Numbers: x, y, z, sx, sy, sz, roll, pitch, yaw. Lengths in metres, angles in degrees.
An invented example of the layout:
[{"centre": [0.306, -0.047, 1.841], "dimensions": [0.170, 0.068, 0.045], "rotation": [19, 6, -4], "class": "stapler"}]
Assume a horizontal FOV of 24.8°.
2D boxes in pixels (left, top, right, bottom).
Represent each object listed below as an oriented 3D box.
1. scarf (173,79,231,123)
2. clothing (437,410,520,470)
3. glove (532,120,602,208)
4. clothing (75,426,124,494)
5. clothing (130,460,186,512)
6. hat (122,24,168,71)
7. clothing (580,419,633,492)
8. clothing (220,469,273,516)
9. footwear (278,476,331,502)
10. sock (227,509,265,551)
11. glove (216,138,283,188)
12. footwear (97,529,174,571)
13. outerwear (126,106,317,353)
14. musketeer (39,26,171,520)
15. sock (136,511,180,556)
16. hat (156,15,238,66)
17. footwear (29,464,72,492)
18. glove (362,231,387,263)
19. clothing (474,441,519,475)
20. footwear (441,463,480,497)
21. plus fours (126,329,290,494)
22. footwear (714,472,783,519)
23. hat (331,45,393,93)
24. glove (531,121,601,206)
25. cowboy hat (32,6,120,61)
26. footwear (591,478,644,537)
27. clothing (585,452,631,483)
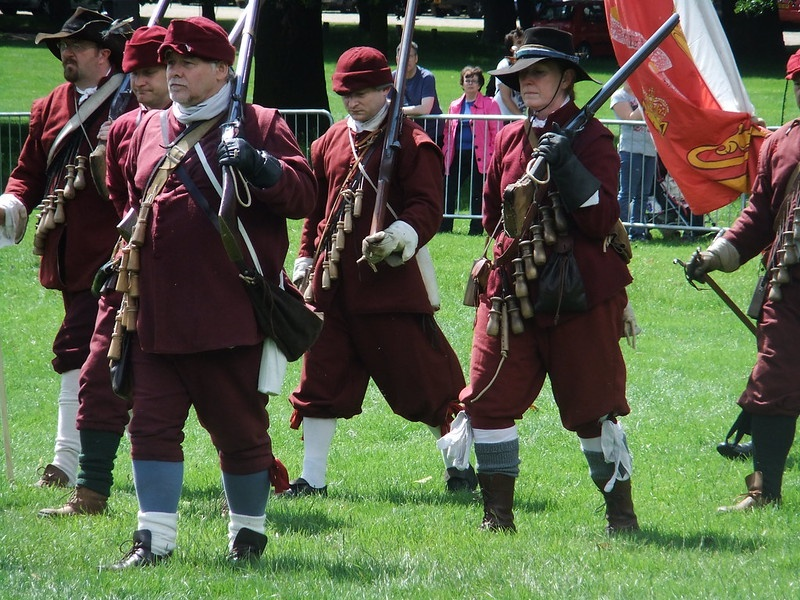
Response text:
[{"centre": [-1.361, -1.353, 12.527], "dimensions": [0.322, 0.140, 0.271], "rotation": [-17, 27, -5], "class": "scarf"}, {"centre": [0.582, 0.999, 13.347], "dimensions": [0.525, 0.317, 0.438], "rotation": [-5, 4, 20], "class": "clothing"}, {"centre": [1.170, -0.916, 12.919], "dimensions": [0.259, 0.873, 0.235], "rotation": [-25, 22, 6], "class": "glove"}, {"centre": [-2.247, 1.223, 13.487], "dimensions": [0.331, 0.550, 0.382], "rotation": [5, -1, -16], "class": "clothing"}, {"centre": [-1.644, 1.254, 12.346], "dimensions": [0.345, 0.371, 0.338], "rotation": [0, -8, -9], "class": "clothing"}, {"centre": [-1.835, -1.816, 13.208], "dimensions": [0.270, 0.276, 0.373], "rotation": [7, 16, 17], "class": "hat"}, {"centre": [1.503, 1.103, 13.337], "dimensions": [0.357, 0.540, 0.423], "rotation": [-10, 17, 5], "class": "clothing"}, {"centre": [-1.060, 1.323, 12.492], "dimensions": [0.294, 0.304, 0.309], "rotation": [-1, -7, -5], "class": "clothing"}, {"centre": [-0.737, 1.455, 14.106], "dimensions": [0.422, 0.162, 0.148], "rotation": [4, -7, -21], "class": "footwear"}, {"centre": [-1.061, 1.579, 12.546], "dimensions": [0.284, 0.228, 0.199], "rotation": [4, 2, -22], "class": "sock"}, {"centre": [-1.079, -0.935, 12.406], "dimensions": [0.289, 0.201, 0.478], "rotation": [-4, -27, -21], "class": "glove"}, {"centre": [-1.745, 1.669, 12.256], "dimensions": [0.246, 0.204, 0.497], "rotation": [12, 17, 43], "class": "footwear"}, {"centre": [-1.268, -0.461, 12.438], "dimensions": [1.682, 1.892, 1.059], "rotation": [-1, -5, 9], "class": "outerwear"}, {"centre": [-2.121, -0.238, 13.226], "dimensions": [0.673, 3.637, 0.258], "rotation": [-6, -18, 35], "class": "musketeer"}, {"centre": [-1.618, 1.575, 12.352], "dimensions": [0.295, 0.284, 0.242], "rotation": [2, 1, 6], "class": "sock"}, {"centre": [-1.389, -1.792, 12.522], "dimensions": [0.408, 0.289, 0.595], "rotation": [9, 7, 43], "class": "hat"}, {"centre": [-2.635, 1.345, 13.871], "dimensions": [0.118, 0.148, 0.356], "rotation": [-6, -13, 41], "class": "footwear"}, {"centre": [-0.198, -0.384, 13.460], "dimensions": [0.168, 0.254, 0.211], "rotation": [-1, 12, -4], "class": "glove"}, {"centre": [0.669, 1.129, 13.280], "dimensions": [0.373, 0.272, 0.305], "rotation": [5, 7, -10], "class": "clothing"}, {"centre": [0.472, 1.426, 14.311], "dimensions": [0.242, 0.230, 0.180], "rotation": [1, -6, -10], "class": "footwear"}, {"centre": [-1.350, 0.756, 12.585], "dimensions": [1.329, 1.644, 0.631], "rotation": [-1, 2, 3], "class": "plus fours"}, {"centre": [2.552, 1.457, 13.773], "dimensions": [0.592, 0.389, 0.211], "rotation": [-1, -12, 3], "class": "footwear"}, {"centre": [-0.289, -1.736, 13.949], "dimensions": [0.380, 0.255, 0.373], "rotation": [-8, 12, -1], "class": "hat"}, {"centre": [1.188, -0.902, 12.957], "dimensions": [0.264, 0.865, 0.232], "rotation": [-25, 25, 9], "class": "glove"}, {"centre": [-2.410, -2.091, 13.829], "dimensions": [0.401, 0.211, 0.498], "rotation": [-30, -29, 32], "class": "cowboy hat"}, {"centre": [1.547, 1.485, 13.323], "dimensions": [0.308, 0.441, 0.235], "rotation": [-14, 25, -6], "class": "footwear"}, {"centre": [1.494, 1.213, 13.224], "dimensions": [0.270, 0.207, 0.235], "rotation": [2, 6, 2], "class": "clothing"}]
